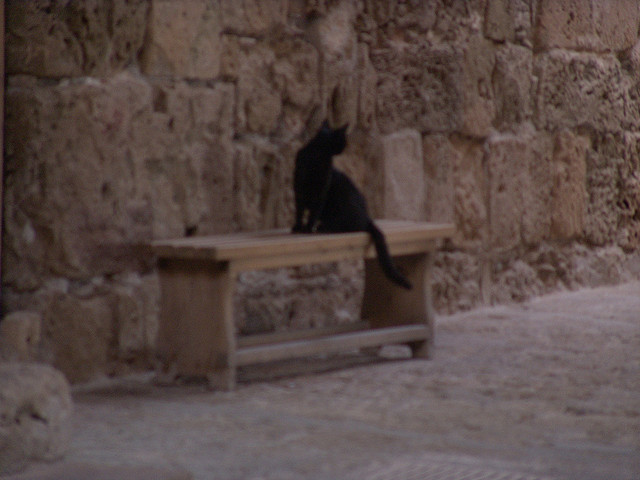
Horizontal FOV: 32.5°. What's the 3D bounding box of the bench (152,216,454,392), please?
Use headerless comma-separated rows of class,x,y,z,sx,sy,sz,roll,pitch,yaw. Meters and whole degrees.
bench,-0.053,0.350,6.560,1.664,0.921,0.675,-4,10,-34

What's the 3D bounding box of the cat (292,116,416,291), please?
cat,0.242,-0.181,6.451,1.053,0.603,0.290,31,9,26
